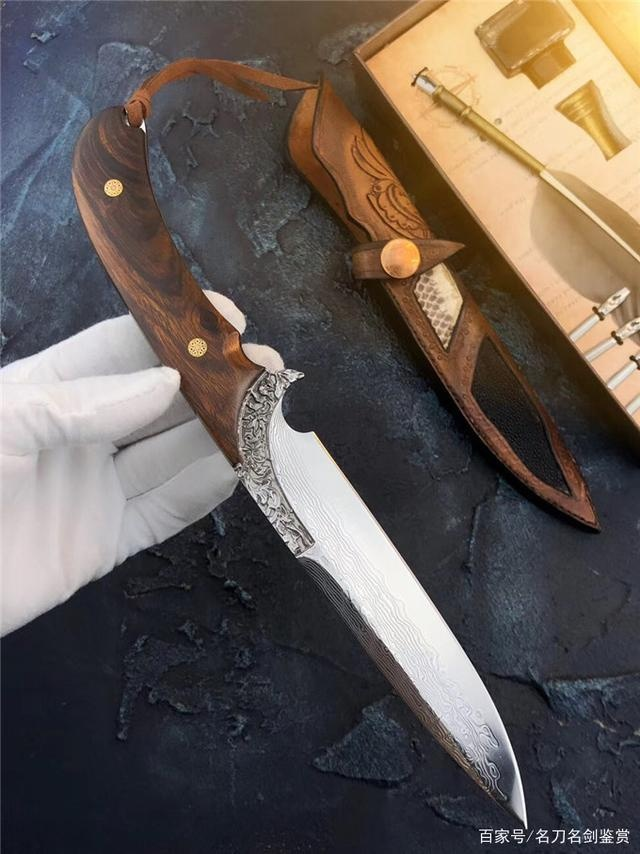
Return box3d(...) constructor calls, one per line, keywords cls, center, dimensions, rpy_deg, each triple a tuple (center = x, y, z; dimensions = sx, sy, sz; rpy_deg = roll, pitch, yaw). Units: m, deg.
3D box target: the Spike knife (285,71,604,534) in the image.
box3d(cls="Spike knife", center=(0.246, -0.208, 1.460), dimensions=(0.200, 0.150, 0.984), rpy_deg=(-36, 93, 3))
